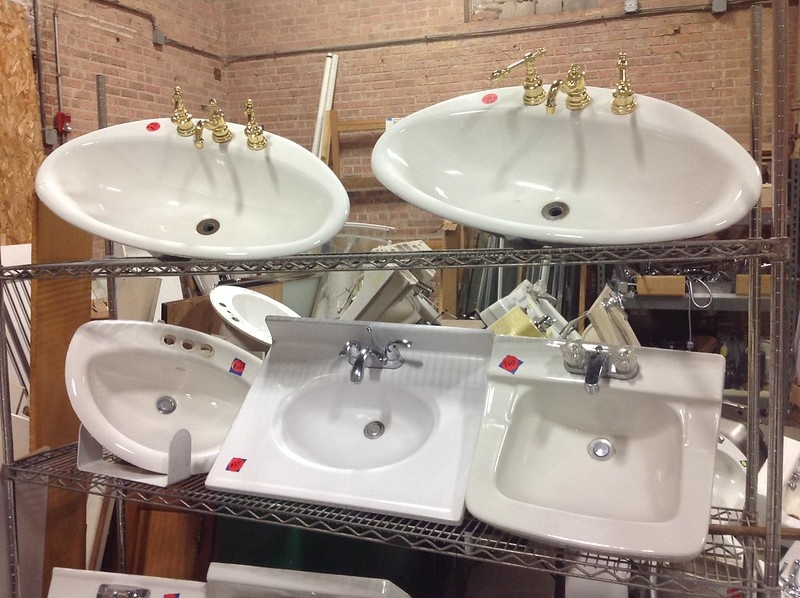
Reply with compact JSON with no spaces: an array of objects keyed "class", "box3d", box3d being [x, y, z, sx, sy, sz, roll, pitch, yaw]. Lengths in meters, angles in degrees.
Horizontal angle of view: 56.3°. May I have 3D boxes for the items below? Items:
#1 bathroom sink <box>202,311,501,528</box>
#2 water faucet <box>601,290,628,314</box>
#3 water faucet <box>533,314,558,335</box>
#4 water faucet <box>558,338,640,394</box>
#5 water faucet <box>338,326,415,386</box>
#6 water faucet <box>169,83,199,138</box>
[{"class":"bathroom sink","box3d":[-0.125,0.326,2.187,0.705,0.355,0.569,6,44,14]},{"class":"water faucet","box3d":[0.900,0.014,3.106,0.106,0.059,0.141,-1,5,1]},{"class":"water faucet","box3d":[0.685,0.121,3.497,0.078,0.098,0.111,-10,28,18]},{"class":"water faucet","box3d":[0.571,0.188,2.152,0.217,0.081,0.210,3,10,28]},{"class":"water faucet","box3d":[-0.094,0.188,2.279,0.209,0.081,0.227,-6,14,34]},{"class":"water faucet","box3d":[-0.686,-0.589,2.347,0.073,0.148,0.078,19,41,33]}]
